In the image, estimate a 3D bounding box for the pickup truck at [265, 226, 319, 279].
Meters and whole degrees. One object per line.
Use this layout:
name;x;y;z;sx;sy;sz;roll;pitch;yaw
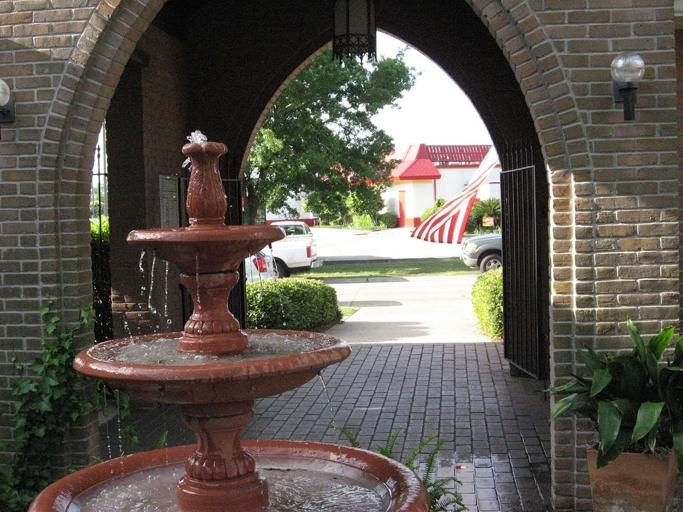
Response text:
pickup truck;-1.851;-0.281;20.249;2.304;1.062;1.216;-1;3;-2

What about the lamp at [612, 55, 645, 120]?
lamp;1.995;-1.171;4.691;0.214;0.444;0.284;1;6;23
